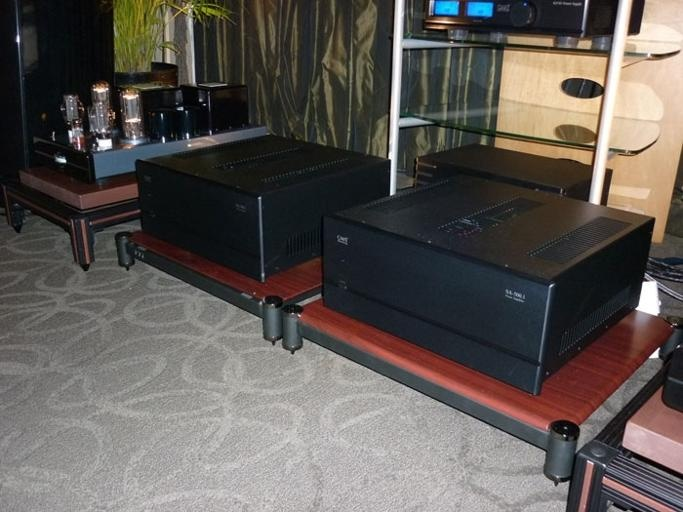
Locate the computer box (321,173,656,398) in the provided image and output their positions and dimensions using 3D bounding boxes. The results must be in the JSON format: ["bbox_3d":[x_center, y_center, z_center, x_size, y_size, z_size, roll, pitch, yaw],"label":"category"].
[{"bbox_3d":[0.381,0.027,1.427,0.708,0.318,0.539,17,29,33],"label":"computer box"}]
